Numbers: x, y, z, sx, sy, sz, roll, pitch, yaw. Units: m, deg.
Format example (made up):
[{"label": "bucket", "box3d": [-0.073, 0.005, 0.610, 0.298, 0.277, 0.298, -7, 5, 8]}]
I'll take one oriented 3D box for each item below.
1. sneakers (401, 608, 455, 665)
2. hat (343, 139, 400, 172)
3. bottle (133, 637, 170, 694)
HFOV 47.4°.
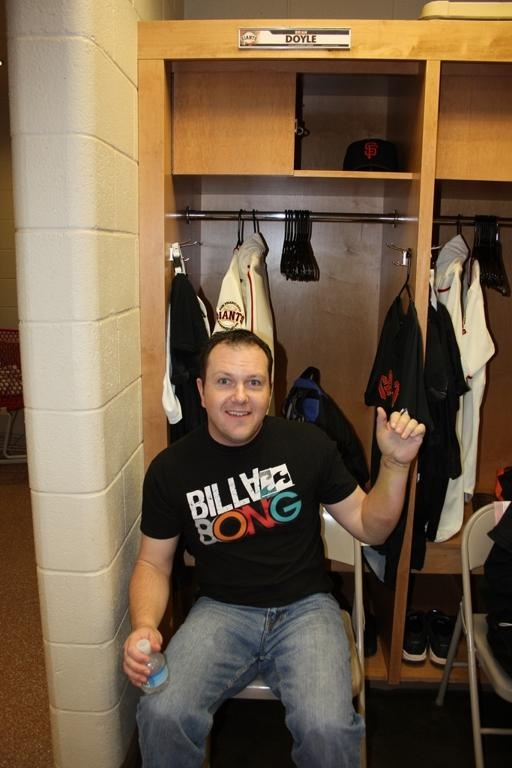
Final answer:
[{"label": "sneakers", "box3d": [0.677, 0.982, 2.340, 0.126, 0.094, 0.242, -1, 6, 6]}, {"label": "hat", "box3d": [0.420, -0.834, 2.089, 0.160, 0.100, 0.242, 1, 22, 7]}, {"label": "bottle", "box3d": [-0.215, 0.566, 1.186, 0.056, 0.108, 0.063, -6, 20, 16]}]
